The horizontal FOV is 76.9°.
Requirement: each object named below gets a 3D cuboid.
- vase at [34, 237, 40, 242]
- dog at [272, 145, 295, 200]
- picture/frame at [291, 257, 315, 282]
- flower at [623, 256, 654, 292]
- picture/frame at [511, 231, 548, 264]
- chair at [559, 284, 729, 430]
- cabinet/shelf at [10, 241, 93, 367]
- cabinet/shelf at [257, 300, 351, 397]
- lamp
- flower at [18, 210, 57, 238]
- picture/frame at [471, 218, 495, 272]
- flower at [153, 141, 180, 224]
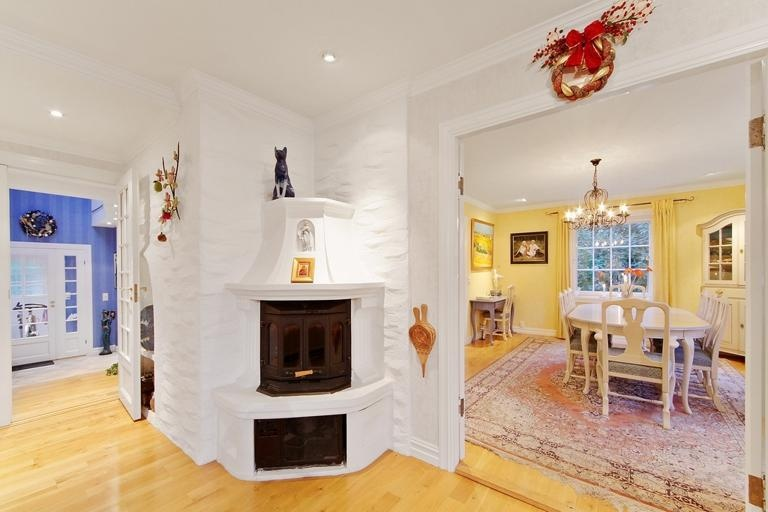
[{"bbox_3d":[-5.260,-0.250,7.312,0.085,0.085,0.048,-3,14,-24],"label":"vase"},{"bbox_3d":[-1.067,-0.847,5.011,0.206,0.537,0.317,-1,-2,-13],"label":"dog"},{"bbox_3d":[-0.787,0.145,4.647,0.222,0.252,0.023,0,-21,-4],"label":"picture/frame"},{"bbox_3d":[4.041,0.298,7.621,0.483,0.633,0.533,-3,4,-2],"label":"flower"},{"bbox_3d":[2.724,-0.153,8.955,0.601,0.516,0.040,0,-4,40],"label":"picture/frame"},{"bbox_3d":[3.298,1.178,5.901,1.275,0.974,1.789,-2,-8,30],"label":"chair"},{"bbox_3d":[-5.090,0.700,7.413,1.009,1.801,0.297,0,-2,-35],"label":"cabinet/shelf"},{"bbox_3d":[-0.790,0.902,4.670,0.894,0.854,0.307,0,-1,-4],"label":"cabinet/shelf"},{"bbox_3d":[3.063,-0.894,7.184,1.028,1.221,1.076,6,9,37],"label":"lamp"},{"bbox_3d":[-5.247,-0.479,7.320,0.476,0.436,0.162,0,-2,-37],"label":"flower"},{"bbox_3d":[1.757,-0.208,8.711,0.040,0.822,0.973,-2,-3,28],"label":"picture/frame"},{"bbox_3d":[-2.285,-0.737,5.000,0.182,0.800,0.441,0,-2,-40],"label":"flower"}]
